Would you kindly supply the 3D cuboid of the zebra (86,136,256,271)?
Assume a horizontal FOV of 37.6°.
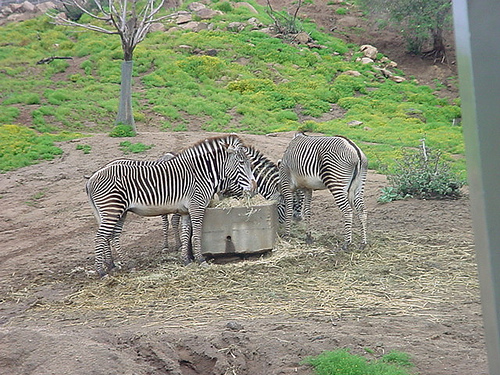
[{"bbox_3d":[-1.993,0.573,19.171,4.770,3.034,1.304,0,-1,-8],"label":"zebra"}]
